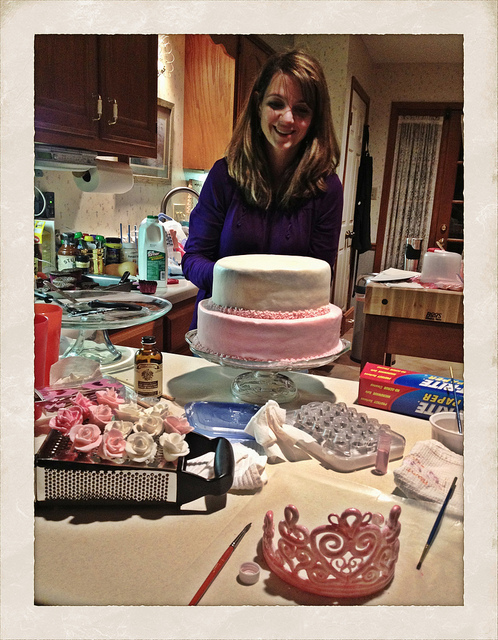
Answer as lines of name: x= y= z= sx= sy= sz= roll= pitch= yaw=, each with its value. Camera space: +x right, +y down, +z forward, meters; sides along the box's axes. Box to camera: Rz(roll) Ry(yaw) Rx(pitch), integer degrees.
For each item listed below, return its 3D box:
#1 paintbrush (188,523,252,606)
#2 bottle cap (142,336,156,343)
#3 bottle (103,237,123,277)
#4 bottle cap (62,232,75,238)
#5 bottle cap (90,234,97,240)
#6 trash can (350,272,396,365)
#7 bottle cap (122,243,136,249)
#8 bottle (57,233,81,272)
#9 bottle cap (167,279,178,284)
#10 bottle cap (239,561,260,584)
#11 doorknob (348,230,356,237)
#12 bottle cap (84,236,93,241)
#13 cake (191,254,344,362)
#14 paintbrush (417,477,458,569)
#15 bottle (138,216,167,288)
paintbrush: x=-0.031 y=0.313 z=0.637 sx=0.013 sy=0.015 sz=0.174 roll=5 pitch=15 yaw=24
bottle cap: x=-0.230 y=0.046 z=1.110 sx=0.028 sy=0.015 sz=0.037 roll=1 pitch=14 yaw=5
bottle: x=-0.723 y=-0.340 z=2.685 sx=0.126 sy=0.221 sz=0.126 roll=3 pitch=8 yaw=0
bottle cap: x=-0.866 y=-0.411 z=2.342 sx=0.039 sy=0.018 sz=0.054 roll=8 pitch=12 yaw=5
bottle cap: x=-0.831 y=-0.444 z=2.609 sx=0.028 sy=0.020 sz=0.028 roll=1 pitch=6 yaw=0
trash can: x=1.046 y=-0.010 z=4.301 sx=0.512 sy=0.779 sz=0.453 roll=4 pitch=16 yaw=17
bottle cap: x=-0.657 y=-0.408 z=2.678 sx=0.069 sy=0.032 sz=0.024 roll=-8 pitch=15 yaw=-27
bottle: x=-0.858 y=-0.330 z=2.324 sx=0.106 sy=0.162 sz=0.241 roll=-5 pitch=14 yaw=-17
bottle cap: x=-0.414 y=-0.209 z=2.641 sx=0.053 sy=0.019 sz=0.068 roll=-2 pitch=14 yaw=-6
bottle cap: x=0.000 y=0.318 z=0.612 sx=0.025 sy=0.012 sz=0.033 roll=-1 pitch=14 yaw=0
doorknob: x=1.171 y=-0.992 z=5.588 sx=0.045 sy=0.088 sz=0.236 roll=6 pitch=15 yaw=24
bottle cap: x=-0.834 y=-0.426 z=2.543 sx=0.016 sy=0.025 sz=0.044 roll=11 pitch=18 yaw=39
cake: x=0.051 y=-0.037 z=1.261 sx=0.389 sy=0.219 sz=0.392 roll=-6 pitch=14 yaw=-27
paintbrush: x=0.273 y=0.289 z=0.699 sx=0.009 sy=0.011 sz=0.156 roll=36 pitch=53 yaw=13
bottle: x=-0.471 y=-0.329 z=2.370 sx=0.136 sy=0.347 sz=0.086 roll=-4 pitch=14 yaw=-12
